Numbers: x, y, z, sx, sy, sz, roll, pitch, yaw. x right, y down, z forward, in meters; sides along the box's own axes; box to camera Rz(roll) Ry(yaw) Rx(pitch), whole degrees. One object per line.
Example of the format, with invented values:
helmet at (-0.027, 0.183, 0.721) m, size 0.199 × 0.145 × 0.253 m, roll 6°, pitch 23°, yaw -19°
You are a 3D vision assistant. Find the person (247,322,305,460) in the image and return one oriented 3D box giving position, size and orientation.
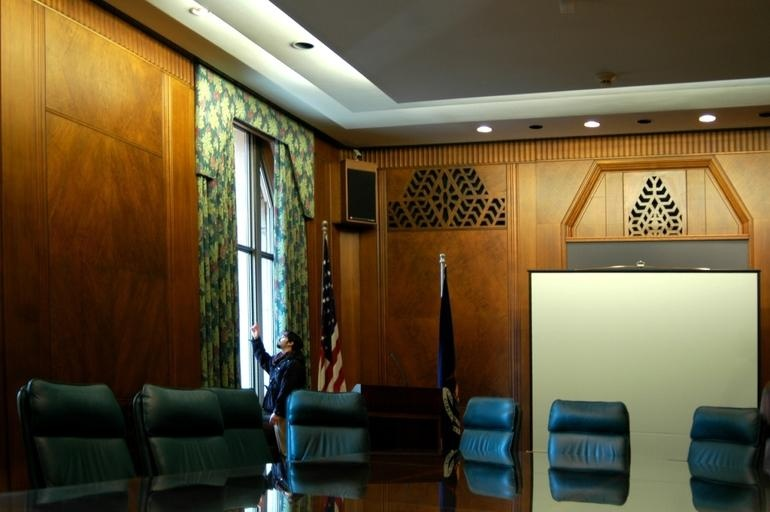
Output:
person at (-1.006, 1.240, 5.568) m, size 0.522 × 1.551 × 0.596 m, roll 4°, pitch -20°, yaw -16°

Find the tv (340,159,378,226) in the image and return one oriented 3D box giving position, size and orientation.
tv at (-0.358, -0.863, 8.403) m, size 0.557 × 0.834 × 0.171 m, roll 0°, pitch 4°, yaw -37°

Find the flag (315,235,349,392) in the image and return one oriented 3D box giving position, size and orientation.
flag at (-0.587, 0.653, 7.085) m, size 0.310 × 1.809 × 0.615 m, roll 2°, pitch 3°, yaw -6°
